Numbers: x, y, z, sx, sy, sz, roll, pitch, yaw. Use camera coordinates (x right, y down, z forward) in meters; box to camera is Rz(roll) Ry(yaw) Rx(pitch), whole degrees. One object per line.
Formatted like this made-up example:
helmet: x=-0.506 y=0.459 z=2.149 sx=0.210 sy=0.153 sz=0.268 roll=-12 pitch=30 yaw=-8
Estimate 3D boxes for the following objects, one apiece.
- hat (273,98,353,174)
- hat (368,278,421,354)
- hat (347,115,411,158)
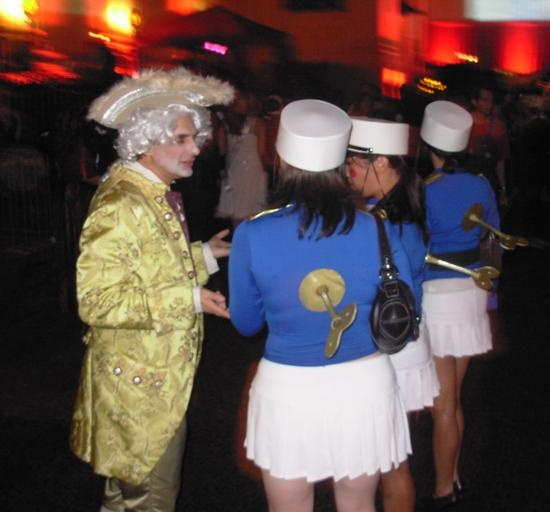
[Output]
hat: x=0.125 y=-0.486 z=2.464 sx=0.315 sy=0.191 sz=0.313 roll=26 pitch=47 yaw=13
hat: x=0.475 y=0.240 z=2.475 sx=0.215 sy=0.273 sz=0.093 roll=-4 pitch=7 yaw=-7
hat: x=0.514 y=-0.568 z=2.985 sx=0.231 sy=0.120 sz=0.223 roll=3 pitch=13 yaw=-35
